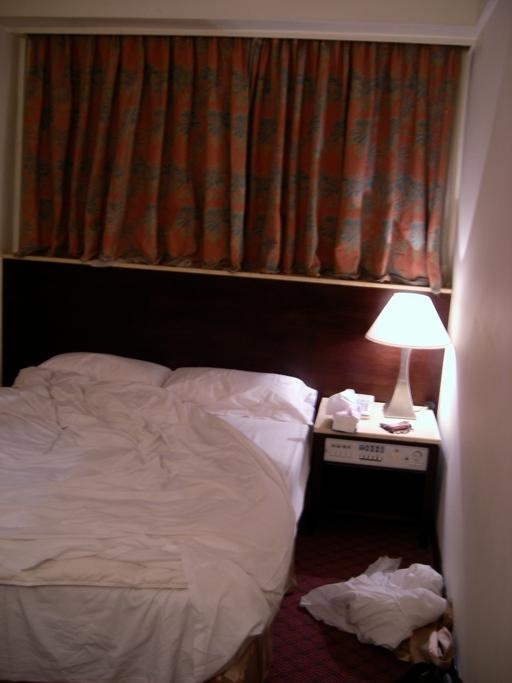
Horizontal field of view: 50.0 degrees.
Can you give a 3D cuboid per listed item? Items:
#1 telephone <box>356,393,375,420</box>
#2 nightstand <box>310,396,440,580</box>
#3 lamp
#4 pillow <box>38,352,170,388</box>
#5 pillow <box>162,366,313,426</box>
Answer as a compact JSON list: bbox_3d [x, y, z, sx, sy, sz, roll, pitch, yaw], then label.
[{"bbox_3d":[0.575,0.324,2.807,0.096,0.133,0.103,3,18,-1],"label":"telephone"},{"bbox_3d":[0.613,0.659,2.846,0.732,0.748,0.596,3,5,8],"label":"nightstand"},{"bbox_3d":[0.733,0.067,2.709,0.356,0.606,0.372,5,6,4],"label":"lamp"},{"bbox_3d":[-0.807,0.138,2.981,0.460,0.121,0.288,10,9,-1],"label":"pillow"},{"bbox_3d":[-0.062,0.264,2.856,0.480,0.126,0.374,12,16,5],"label":"pillow"}]
